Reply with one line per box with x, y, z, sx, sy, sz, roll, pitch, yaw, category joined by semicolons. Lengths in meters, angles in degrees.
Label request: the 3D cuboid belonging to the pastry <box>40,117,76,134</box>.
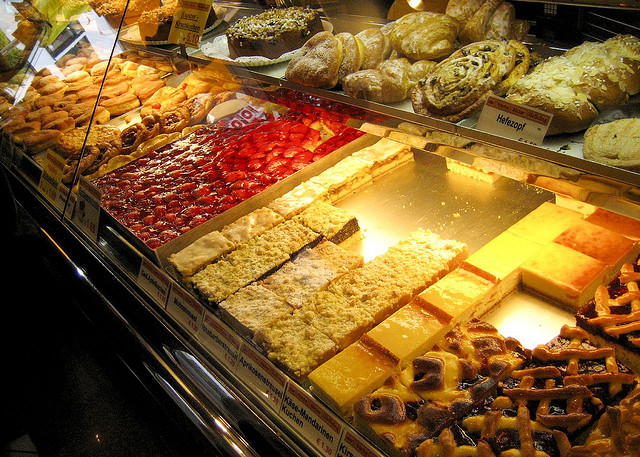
-2.047;-0.825;3.614;0.175;0.076;0.185;1;20;43;pastry

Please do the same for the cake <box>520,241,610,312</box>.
1.174;0.224;2.213;0.350;0.117;0.323;-37;45;-27;cake

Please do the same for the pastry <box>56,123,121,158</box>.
-1.807;-0.675;3.555;0.403;0.105;0.403;-4;23;-8;pastry

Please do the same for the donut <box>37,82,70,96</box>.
-2.264;-1.185;3.880;0.203;0.057;0.150;-1;28;23;donut

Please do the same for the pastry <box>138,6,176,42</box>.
-1.094;-1.377;3.073;0.265;0.101;0.288;0;43;-1;pastry

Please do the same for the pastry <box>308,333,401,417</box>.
0.162;0.622;1.968;0.362;0.104;0.260;-33;46;-25;pastry

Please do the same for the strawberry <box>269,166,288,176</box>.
-0.274;-0.385;3.075;0.116;0.022;0.075;-17;51;3;strawberry

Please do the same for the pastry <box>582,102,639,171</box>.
1.002;-0.315;1.542;0.172;0.075;0.258;17;60;27;pastry

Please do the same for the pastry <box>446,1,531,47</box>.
0.725;-0.920;2.010;0.258;0.085;0.257;23;77;21;pastry

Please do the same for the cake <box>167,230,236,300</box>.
-0.675;0.160;2.705;0.357;0.111;0.275;-32;37;-22;cake

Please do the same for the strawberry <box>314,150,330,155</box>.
0.016;-0.526;3.159;0.106;0.014;0.046;7;56;21;strawberry

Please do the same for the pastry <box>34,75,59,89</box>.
-2.356;-1.272;3.945;0.136;0.043;0.149;0;31;25;pastry

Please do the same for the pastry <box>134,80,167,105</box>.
-1.431;-1.187;3.954;0.202;0.086;0.267;2;41;30;pastry

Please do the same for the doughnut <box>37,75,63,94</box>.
-2.347;-1.239;3.959;0.184;0.095;0.172;-20;58;-6;doughnut

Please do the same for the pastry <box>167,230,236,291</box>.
-0.680;0.211;2.712;0.347;0.110;0.268;-31;52;-21;pastry

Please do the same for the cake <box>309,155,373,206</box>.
0.159;-0.336;3.002;0.398;0.113;0.271;-32;55;-12;cake

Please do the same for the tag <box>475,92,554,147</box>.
0.724;-0.394;1.668;0.210;0.134;0.007;27;30;21;tag

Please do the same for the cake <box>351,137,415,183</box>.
0.442;-0.470;3.126;0.409;0.126;0.268;-29;51;-21;cake

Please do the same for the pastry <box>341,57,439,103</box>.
0.303;-0.648;2.080;0.422;0.136;0.217;-12;42;3;pastry

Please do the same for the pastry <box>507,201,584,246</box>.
1.227;-0.028;2.468;0.339;0.074;0.223;-37;46;-28;pastry

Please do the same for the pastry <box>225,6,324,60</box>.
-0.244;-1.138;2.669;0.441;0.155;0.485;9;40;35;pastry

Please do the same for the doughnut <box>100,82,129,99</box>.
-1.751;-1.167;3.913;0.218;0.056;0.107;-16;51;-9;doughnut

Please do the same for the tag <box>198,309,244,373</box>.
-0.485;0.564;2.226;0.003;0.156;0.283;-3;34;-49;tag

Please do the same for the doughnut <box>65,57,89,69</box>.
-2.026;-1.383;3.826;0.252;0.088;0.034;3;58;19;doughnut

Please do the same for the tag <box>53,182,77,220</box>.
-1.724;-0.190;3.090;0.019;0.153;0.225;-16;40;-39;tag

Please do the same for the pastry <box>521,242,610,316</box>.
1.277;0.199;2.287;0.367;0.133;0.372;-33;24;-12;pastry

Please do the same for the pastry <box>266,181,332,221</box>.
-0.132;-0.183;2.916;0.332;0.096;0.240;-33;46;-21;pastry

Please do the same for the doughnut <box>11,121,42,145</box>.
-2.355;-0.770;3.632;0.239;0.067;0.169;-35;48;-23;doughnut

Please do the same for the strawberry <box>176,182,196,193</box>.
-0.897;-0.269;3.066;0.129;0.027;0.092;-28;51;-6;strawberry

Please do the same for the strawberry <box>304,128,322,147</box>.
-0.045;-0.647;3.263;0.129;0.041;0.126;-37;72;-19;strawberry

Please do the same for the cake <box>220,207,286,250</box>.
-0.405;-0.013;2.792;0.321;0.090;0.228;-31;39;-23;cake

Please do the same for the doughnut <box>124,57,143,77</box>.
-1.570;-1.357;3.845;0.147;0.070;0.183;16;78;27;doughnut

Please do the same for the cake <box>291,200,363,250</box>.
0.061;-0.033;2.742;0.381;0.186;0.285;28;48;31;cake

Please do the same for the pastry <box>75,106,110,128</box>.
-1.840;-0.904;3.729;0.255;0.078;0.186;-18;41;-18;pastry

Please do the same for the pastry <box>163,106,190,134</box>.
-1.147;-0.856;3.642;0.200;0.094;0.268;-8;52;11;pastry

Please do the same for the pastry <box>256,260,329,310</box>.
-0.143;0.301;2.447;0.237;0.058;0.253;26;48;32;pastry

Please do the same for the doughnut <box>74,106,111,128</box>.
-1.849;-0.900;3.719;0.266;0.086;0.196;-18;41;-18;doughnut

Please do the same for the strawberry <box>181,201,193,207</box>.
-0.867;-0.160;2.962;0.044;0.018;0.041;-8;30;-18;strawberry
